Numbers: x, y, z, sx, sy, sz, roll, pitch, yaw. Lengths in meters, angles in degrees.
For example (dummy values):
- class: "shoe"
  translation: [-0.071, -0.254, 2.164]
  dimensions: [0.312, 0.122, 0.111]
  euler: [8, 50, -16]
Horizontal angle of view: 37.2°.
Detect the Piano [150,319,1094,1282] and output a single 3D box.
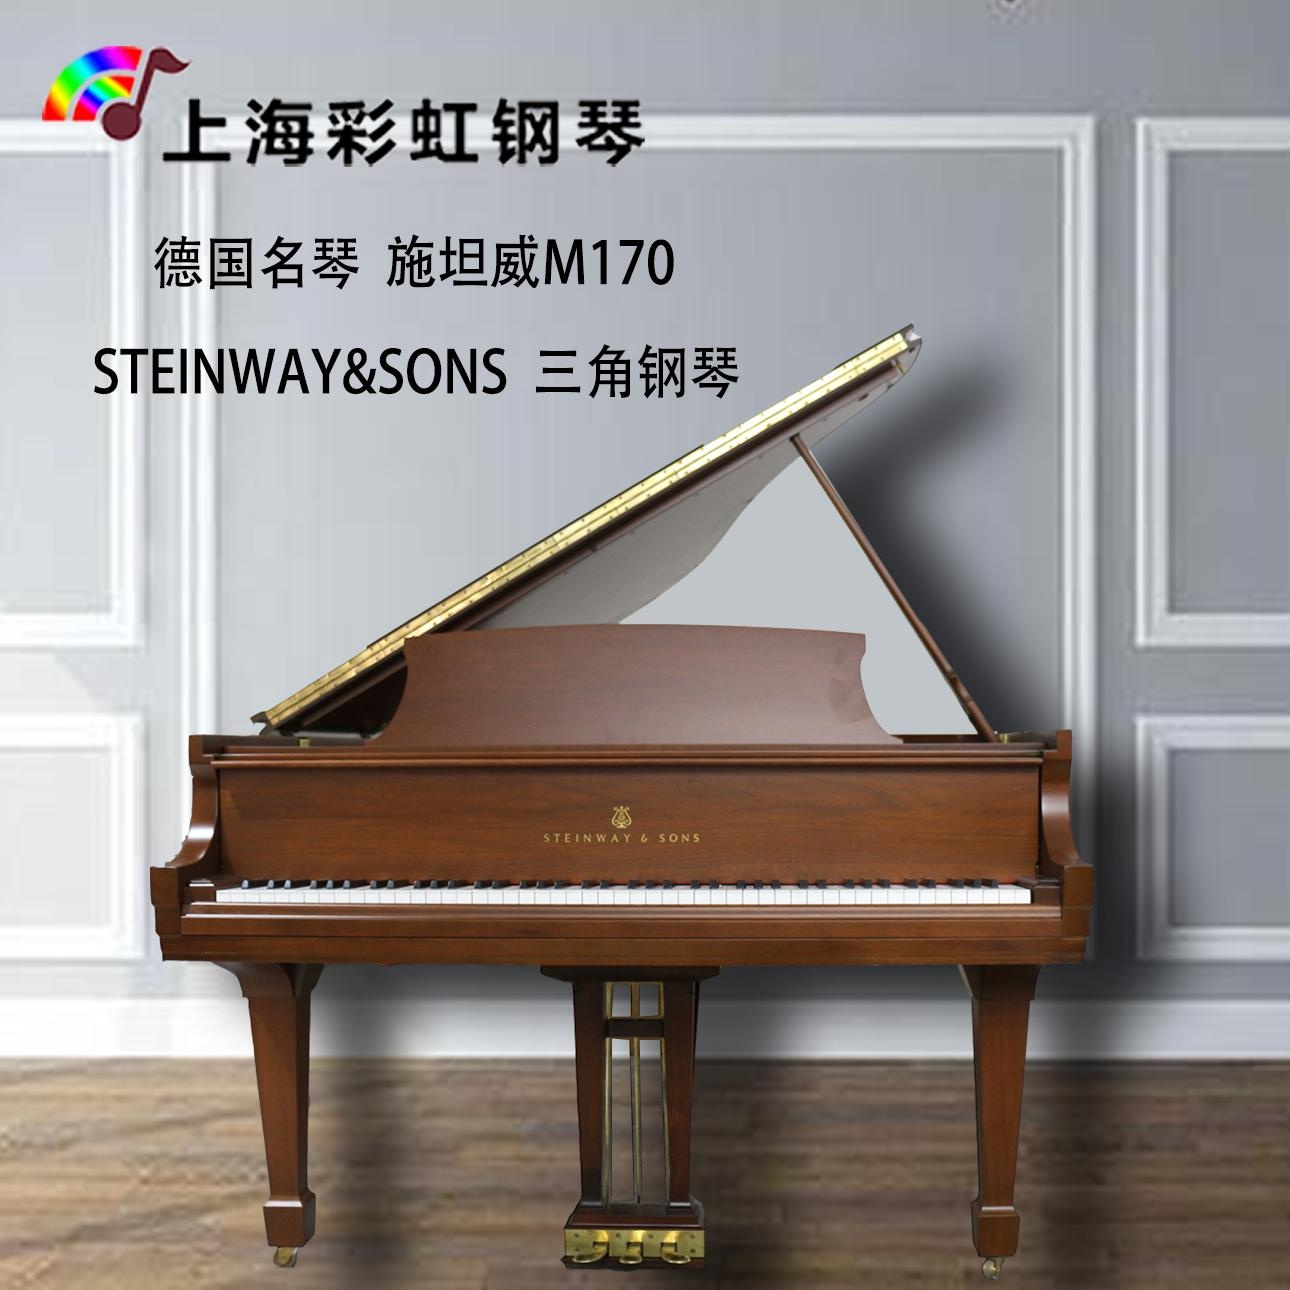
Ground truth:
- class: "Piano"
  translation: [-0.055, 0.247, 4.662]
  dimensions: [2.039, 1.738, 1.474]
  euler: [1, 15, -4]
